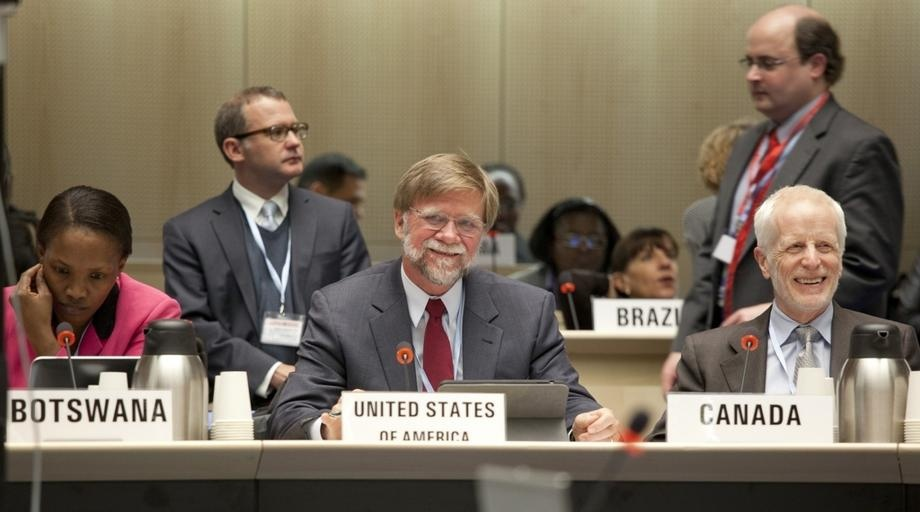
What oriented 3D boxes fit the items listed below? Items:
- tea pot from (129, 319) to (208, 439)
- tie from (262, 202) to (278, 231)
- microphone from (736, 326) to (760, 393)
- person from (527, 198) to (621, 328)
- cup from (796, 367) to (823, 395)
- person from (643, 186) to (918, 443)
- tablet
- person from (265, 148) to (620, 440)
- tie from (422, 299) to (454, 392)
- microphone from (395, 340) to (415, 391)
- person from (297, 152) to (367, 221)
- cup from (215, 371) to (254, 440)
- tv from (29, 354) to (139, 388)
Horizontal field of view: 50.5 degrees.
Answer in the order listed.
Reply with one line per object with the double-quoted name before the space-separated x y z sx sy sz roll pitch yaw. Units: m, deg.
"tea pot" -1.156 0.497 3.919 0.288 0.487 0.187 0 -2 -19
"tie" -1.076 -0.222 5.538 0.099 0.155 0.060 0 -5 -2
"microphone" 1.269 0.473 4.341 0.093 0.248 0.192 -1 -2 16
"person" 0.786 0.100 6.904 0.720 1.053 0.778 1 -29 2
"cup" 1.390 0.507 3.950 0.100 0.102 0.104 2 -7 0
"person" 1.506 0.287 4.590 1.069 1.507 0.817 1 -30 13
"tablet" 0.274 0.618 4.061 0.372 0.281 0.245 -1 -15 2
"person" -0.157 0.164 4.432 1.388 1.262 0.479 -1 -2 -8
"tie" -0.106 0.399 4.462 0.140 0.405 0.142 -1 -2 -7
"microphone" -0.237 0.485 4.268 0.087 0.217 0.299 -1 -3 -4
"person" -0.963 -0.549 7.573 0.449 0.765 0.552 3 -3 -10
"cup" -0.929 0.603 3.948 0.179 0.268 0.125 -1 -2 3
"tv" -1.533 0.475 4.008 0.426 0.124 0.119 -1 -2 -2
